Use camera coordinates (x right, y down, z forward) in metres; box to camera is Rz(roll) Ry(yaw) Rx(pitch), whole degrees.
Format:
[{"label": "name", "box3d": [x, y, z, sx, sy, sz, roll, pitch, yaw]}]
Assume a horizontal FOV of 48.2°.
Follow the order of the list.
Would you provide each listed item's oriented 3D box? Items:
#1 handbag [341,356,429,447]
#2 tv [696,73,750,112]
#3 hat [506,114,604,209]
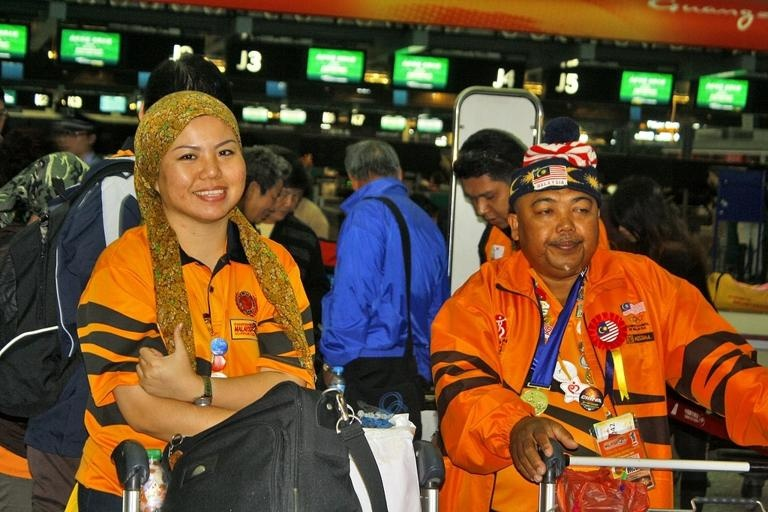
[{"label": "handbag", "box3d": [0.007, 0.951, 5.950, 0.641, 0.632, 0.416, 4, -15, -12]}, {"label": "tv", "box3d": [6.588, -3.193, 16.744, 1.164, 0.618, 0.779, 6, 3, 8]}, {"label": "hat", "box3d": [0.935, -0.522, 4.687, 0.486, 0.500, 0.366, 2, 0, 1]}]
